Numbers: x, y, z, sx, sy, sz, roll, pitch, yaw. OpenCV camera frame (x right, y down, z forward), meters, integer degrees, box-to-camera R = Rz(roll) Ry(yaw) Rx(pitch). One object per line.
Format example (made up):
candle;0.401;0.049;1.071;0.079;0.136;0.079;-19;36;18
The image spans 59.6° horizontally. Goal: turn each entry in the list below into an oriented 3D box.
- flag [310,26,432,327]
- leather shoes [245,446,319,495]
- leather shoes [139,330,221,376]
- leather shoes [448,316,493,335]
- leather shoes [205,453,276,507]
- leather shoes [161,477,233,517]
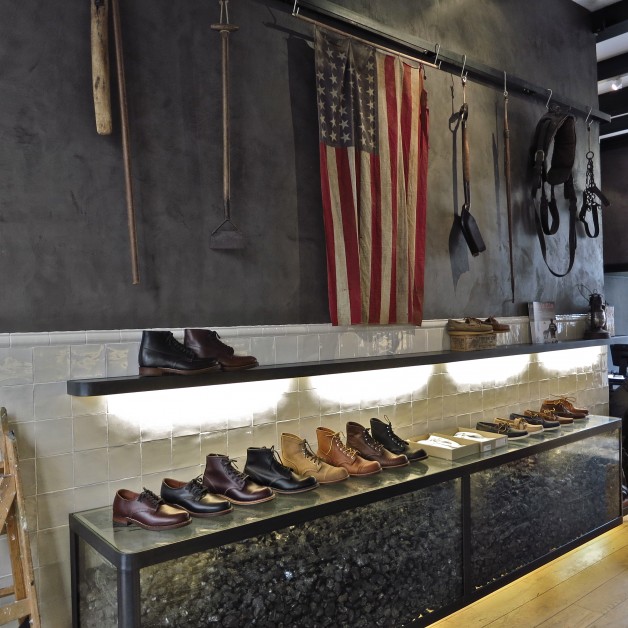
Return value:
flag;0.347;-0.694;2.964;0.819;1.262;0.119;-10;4;-37
leather shoes;-0.150;0.638;2.349;0.309;0.193;0.137;7;0;20
leather shoes;-0.493;0.147;2.072;0.303;0.212;0.122;1;-4;-18
leather shoes;0.987;0.069;3.406;0.293;0.134;0.114;-1;-2;-18
leather shoes;-0.307;0.653;2.213;0.298;0.160;0.133;12;7;30
leather shoes;-0.437;0.673;2.071;0.271;0.133;0.122;11;-1;15
